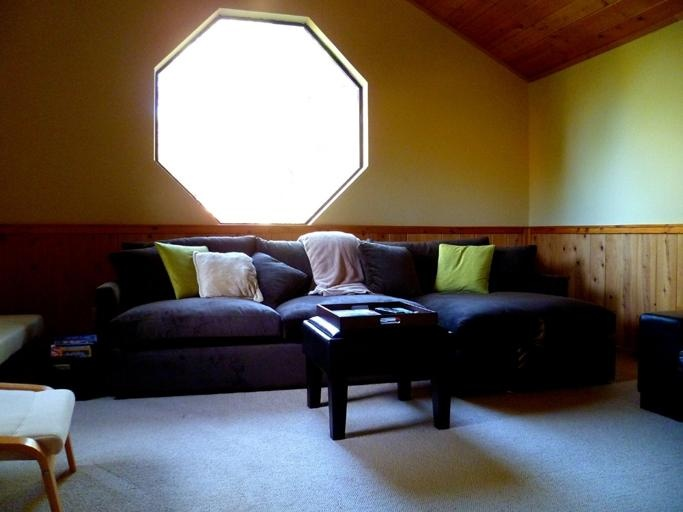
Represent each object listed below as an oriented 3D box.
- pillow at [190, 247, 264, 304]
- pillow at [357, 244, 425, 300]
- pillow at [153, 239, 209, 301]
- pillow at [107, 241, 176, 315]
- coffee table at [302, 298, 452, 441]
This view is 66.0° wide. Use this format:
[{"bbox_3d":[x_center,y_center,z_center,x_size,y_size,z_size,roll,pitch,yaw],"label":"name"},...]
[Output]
[{"bbox_3d":[-0.877,0.129,4.086,0.426,0.455,0.136,3,-35,-29],"label":"pillow"},{"bbox_3d":[0.400,0.146,4.482,0.407,0.349,0.208,-11,5,-28],"label":"pillow"},{"bbox_3d":[-1.296,0.139,4.240,0.242,0.422,0.483,8,1,8],"label":"pillow"},{"bbox_3d":[-1.527,0.171,4.029,0.457,0.471,0.168,-17,-3,-38],"label":"pillow"},{"bbox_3d":[0.188,0.584,3.324,0.801,0.723,0.819,-1,1,-17],"label":"coffee table"}]
